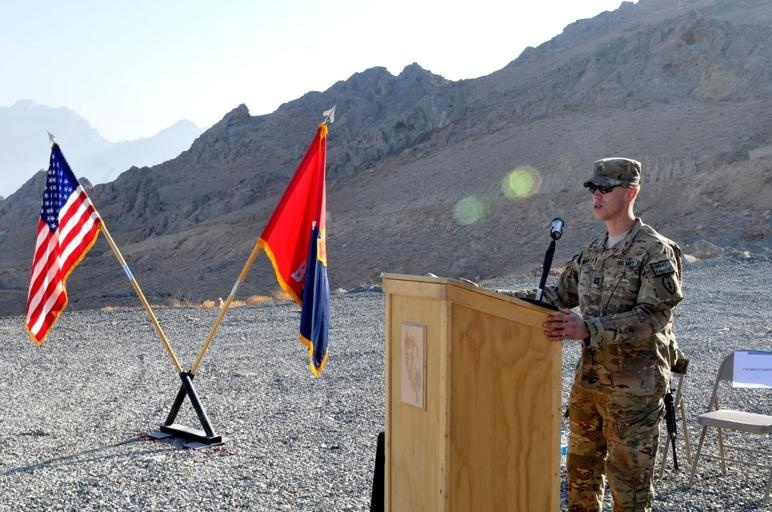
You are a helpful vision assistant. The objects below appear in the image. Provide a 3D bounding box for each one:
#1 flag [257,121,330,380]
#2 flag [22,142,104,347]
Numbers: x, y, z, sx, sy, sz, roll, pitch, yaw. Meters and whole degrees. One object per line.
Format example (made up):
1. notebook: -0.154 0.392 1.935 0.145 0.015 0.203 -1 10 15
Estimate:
1. flag: -1.514 -0.109 16.311 1.057 4.470 0.771 -2 5 -3
2. flag: -5.840 -0.406 16.321 0.338 4.192 1.689 33 43 23
